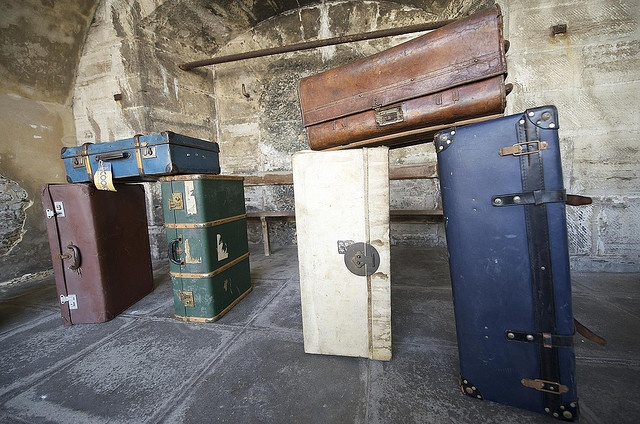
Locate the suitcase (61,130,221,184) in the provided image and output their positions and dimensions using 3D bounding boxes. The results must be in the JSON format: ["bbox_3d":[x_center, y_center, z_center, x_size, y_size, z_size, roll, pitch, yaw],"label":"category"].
[{"bbox_3d":[-2.326,-0.680,5.203,1.781,0.417,0.561,-3,2,-1],"label":"suitcase"}]
